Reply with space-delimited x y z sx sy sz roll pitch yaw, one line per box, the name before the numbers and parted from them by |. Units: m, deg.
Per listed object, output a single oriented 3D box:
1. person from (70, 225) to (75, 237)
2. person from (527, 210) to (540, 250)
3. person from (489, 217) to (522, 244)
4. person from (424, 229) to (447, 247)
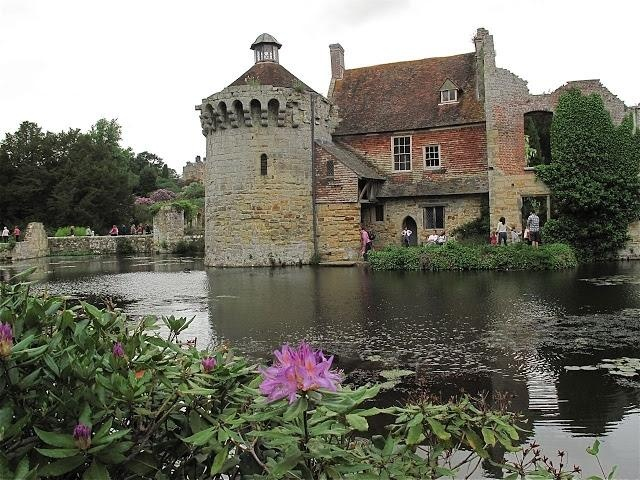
person | -19.004 -0.683 45.884 0.333 0.738 1.710 -1 -3 -21
person | 8.789 -0.453 24.638 0.462 1.341 0.665 -2 -3 18
person | 7.875 -0.427 25.396 1.239 1.169 1.205 -2 -3 16
person | 5.425 -0.105 28.086 0.736 0.505 0.967 1 0 -3
